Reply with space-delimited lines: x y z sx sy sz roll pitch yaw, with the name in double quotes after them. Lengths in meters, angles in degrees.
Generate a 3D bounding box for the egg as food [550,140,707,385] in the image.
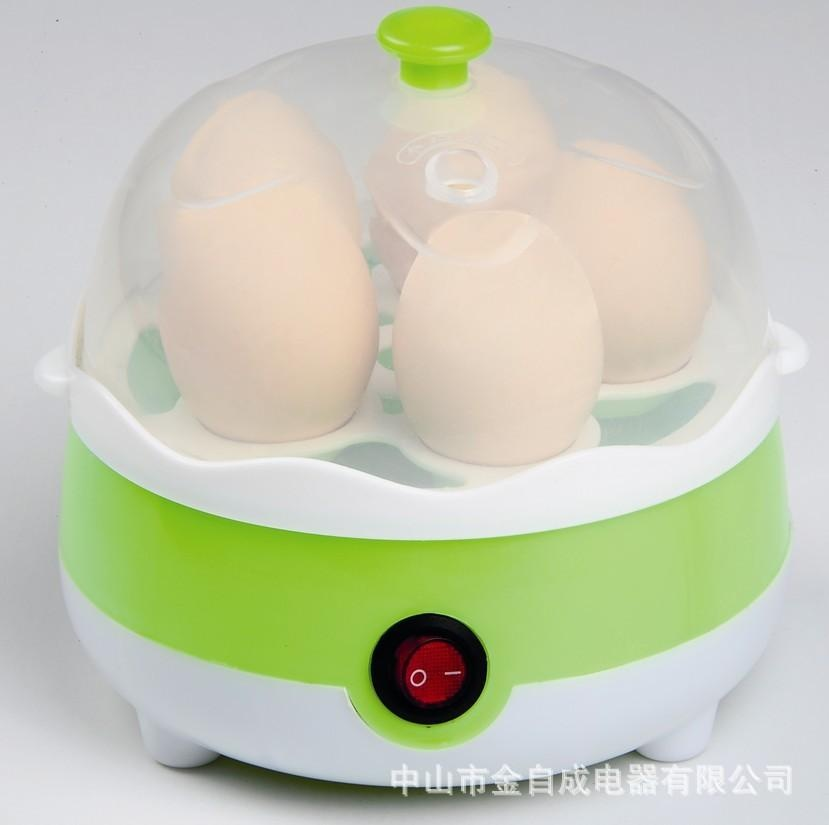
0.181 -0.129 0.937 0.124 0.102 0.204 -7 86 -6 "egg as food"

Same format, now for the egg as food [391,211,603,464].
0.070 -0.067 0.827 0.155 0.185 0.172 14 31 42 "egg as food"
